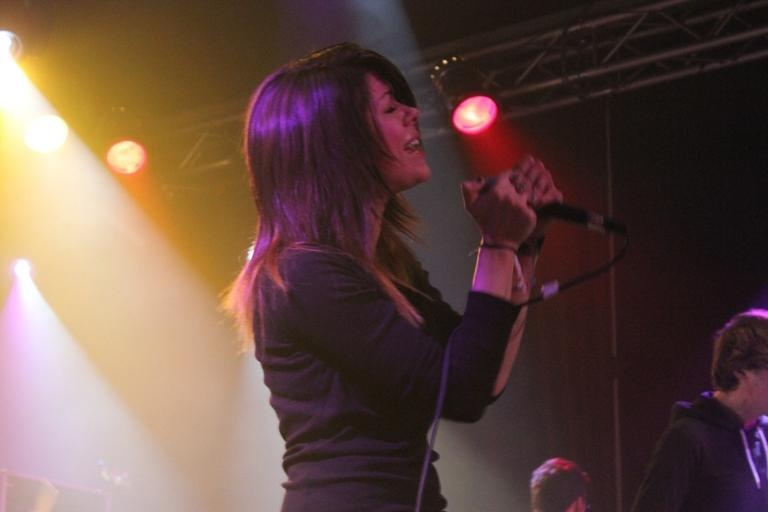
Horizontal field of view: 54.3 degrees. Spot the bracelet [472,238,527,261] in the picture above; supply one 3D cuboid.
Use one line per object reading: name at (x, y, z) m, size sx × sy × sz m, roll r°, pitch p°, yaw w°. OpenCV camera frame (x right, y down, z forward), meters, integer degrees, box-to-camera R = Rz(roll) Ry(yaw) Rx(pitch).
bracelet at (0.649, -0.043, 4.321) m, size 0.240 × 0.063 × 0.117 m, roll -3°, pitch -36°, yaw 13°
